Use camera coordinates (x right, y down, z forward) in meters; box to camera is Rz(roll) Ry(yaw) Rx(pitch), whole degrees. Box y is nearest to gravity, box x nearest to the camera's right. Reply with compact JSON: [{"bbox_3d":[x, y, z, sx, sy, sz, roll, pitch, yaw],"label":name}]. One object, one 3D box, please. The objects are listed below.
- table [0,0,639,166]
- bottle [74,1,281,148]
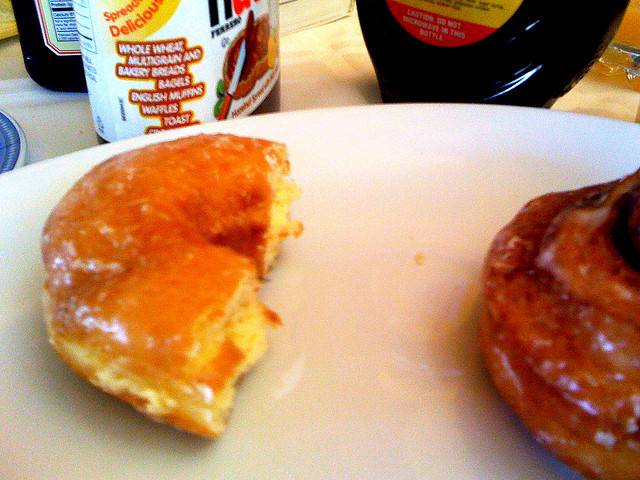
[{"bbox_3d":[-0.001,-0.172,0.597,0.504,0.259,0.122,-6,4,-5],"label":"table"},{"bbox_3d":[-0.139,-0.164,0.526,0.088,0.112,0.163,35,38,29],"label":"bottle"}]
